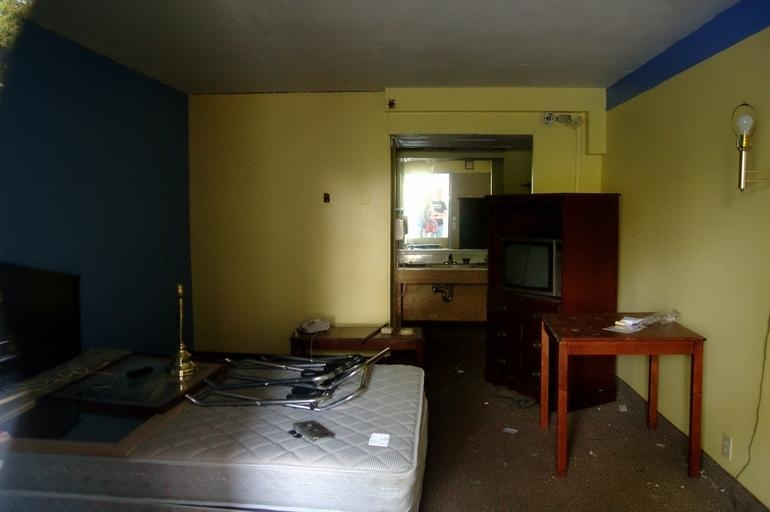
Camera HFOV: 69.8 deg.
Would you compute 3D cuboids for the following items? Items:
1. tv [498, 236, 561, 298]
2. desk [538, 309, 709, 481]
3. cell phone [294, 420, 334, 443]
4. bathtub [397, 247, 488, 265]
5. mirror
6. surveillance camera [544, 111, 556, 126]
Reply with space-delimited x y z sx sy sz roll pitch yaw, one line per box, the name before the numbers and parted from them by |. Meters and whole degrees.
tv | 1.416 0.107 5.420 0.457 0.688 0.813 4 -4 -40
desk | 1.804 1.092 4.686 1.224 1.102 1.203 0 2 1
cell phone | -0.484 1.163 3.684 0.116 0.032 0.161 -4 12 -29
bathtub | 0.820 -0.007 7.964 1.240 0.233 0.461 2 3 6
mirror | 0.932 -0.751 7.774 1.726 1.669 0.080 0 3 4
surveillance camera | 1.712 -1.438 5.725 0.121 0.109 0.037 1 5 -1
